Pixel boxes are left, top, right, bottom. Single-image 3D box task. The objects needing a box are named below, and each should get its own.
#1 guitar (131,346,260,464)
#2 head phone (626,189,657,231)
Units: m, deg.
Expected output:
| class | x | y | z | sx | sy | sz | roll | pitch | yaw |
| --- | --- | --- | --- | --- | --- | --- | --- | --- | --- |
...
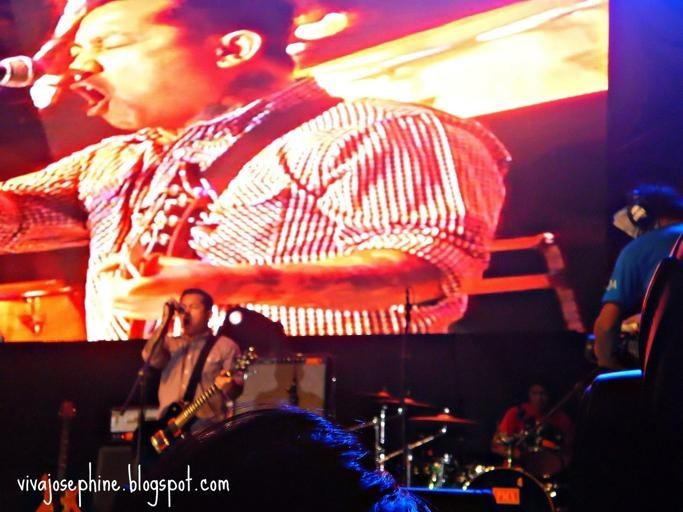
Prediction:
| class | x | y | z | sx | sy | sz | roll | pitch | yaw |
| --- | --- | --- | --- | --- | --- | --- | --- | --- | --- |
| guitar | -0.824 | 0.840 | 4.345 | 0.919 | 0.318 | 0.120 | -38 | -21 | 3 |
| head phone | 1.827 | -0.286 | 4.689 | 0.177 | 0.220 | 0.208 | 8 | 25 | 23 |
